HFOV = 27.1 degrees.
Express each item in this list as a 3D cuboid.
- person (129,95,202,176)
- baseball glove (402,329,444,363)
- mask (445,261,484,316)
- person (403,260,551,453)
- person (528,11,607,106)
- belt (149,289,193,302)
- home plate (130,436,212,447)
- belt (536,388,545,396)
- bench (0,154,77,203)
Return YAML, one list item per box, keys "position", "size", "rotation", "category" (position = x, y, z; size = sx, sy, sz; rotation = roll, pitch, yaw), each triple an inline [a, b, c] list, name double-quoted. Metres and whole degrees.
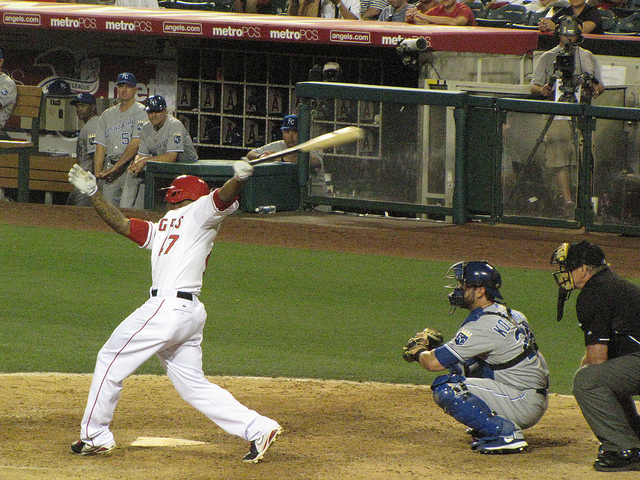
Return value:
- position: [-2.160, -1.380, 18.030]
  size: [0.877, 0.953, 1.284]
  rotation: [9, 13, 26]
  category: "person"
- position: [0.908, 0.928, 12.047]
  size: [0.448, 0.203, 0.345]
  rotation: [-20, -5, 7]
  category: "baseball glove"
- position: [1.285, 0.436, 11.864]
  size: [0.314, 0.503, 0.418]
  rotation: [3, 5, 5]
  category: "mask"
- position: [1.428, 1.036, 11.758]
  size: [1.189, 1.674, 0.373]
  rotation: [3, 5, 4]
  category: "person"
- position: [3.274, -2.397, 17.564]
  size: [0.976, 1.268, 1.560]
  rotation: [2, 5, -2]
  category: "person"
- position: [-1.282, 0.475, 11.393]
  size: [0.352, 0.093, 0.063]
  rotation: [2, 5, 0]
  category: "belt"
- position: [-1.361, 1.803, 11.892]
  size: [0.679, 0.040, 0.203]
  rotation: [1, 5, -6]
  category: "home plate"
- position: [1.948, 1.333, 11.729]
  size: [0.071, 0.055, 0.013]
  rotation: [0, 6, -27]
  category: "belt"
- position: [-4.158, -0.916, 19.374]
  size: [0.963, 0.405, 0.265]
  rotation: [2, 4, 15]
  category: "bench"
